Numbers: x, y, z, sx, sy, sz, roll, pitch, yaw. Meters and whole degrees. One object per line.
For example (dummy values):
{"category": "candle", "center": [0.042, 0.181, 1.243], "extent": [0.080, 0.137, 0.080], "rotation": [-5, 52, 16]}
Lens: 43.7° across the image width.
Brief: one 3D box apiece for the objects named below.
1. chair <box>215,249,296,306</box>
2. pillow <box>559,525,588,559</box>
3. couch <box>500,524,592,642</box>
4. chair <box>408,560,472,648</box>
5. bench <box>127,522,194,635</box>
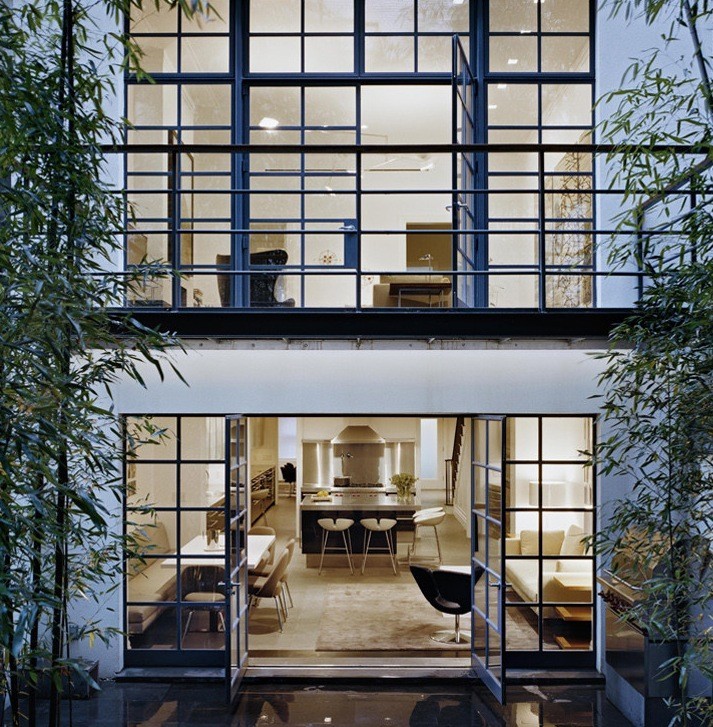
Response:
{"category": "chair", "center": [-0.935, -0.794, 8.431], "extent": [0.584, 0.529, 0.300], "rotation": [0, 2, 17]}
{"category": "pillow", "center": [1.921, 1.572, 7.866], "extent": [0.227, 0.277, 0.131], "rotation": [0, 1, 23]}
{"category": "couch", "center": [1.695, 1.946, 7.817], "extent": [0.566, 0.607, 1.295], "rotation": [1, -3, 7]}
{"category": "chair", "center": [0.836, 2.317, 8.503], "extent": [0.655, 0.662, 0.669], "rotation": [-2, -8, 0]}
{"category": "bench", "center": [-1.713, 1.910, 7.720], "extent": [0.374, 0.501, 1.243], "rotation": [1, 5, -3]}
